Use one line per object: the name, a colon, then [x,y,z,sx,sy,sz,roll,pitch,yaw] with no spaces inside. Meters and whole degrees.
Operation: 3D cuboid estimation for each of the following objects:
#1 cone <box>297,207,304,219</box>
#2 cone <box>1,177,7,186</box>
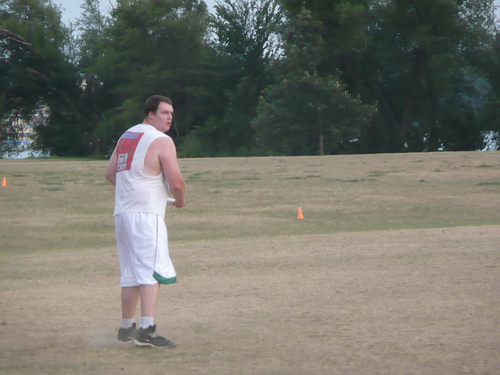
cone: [3.285,1.703,76.421,0.417,0.692,0.704,-2,0,3]
cone: [-17.716,-0.415,83.594,0.380,0.586,1.217,-2,1,-11]
